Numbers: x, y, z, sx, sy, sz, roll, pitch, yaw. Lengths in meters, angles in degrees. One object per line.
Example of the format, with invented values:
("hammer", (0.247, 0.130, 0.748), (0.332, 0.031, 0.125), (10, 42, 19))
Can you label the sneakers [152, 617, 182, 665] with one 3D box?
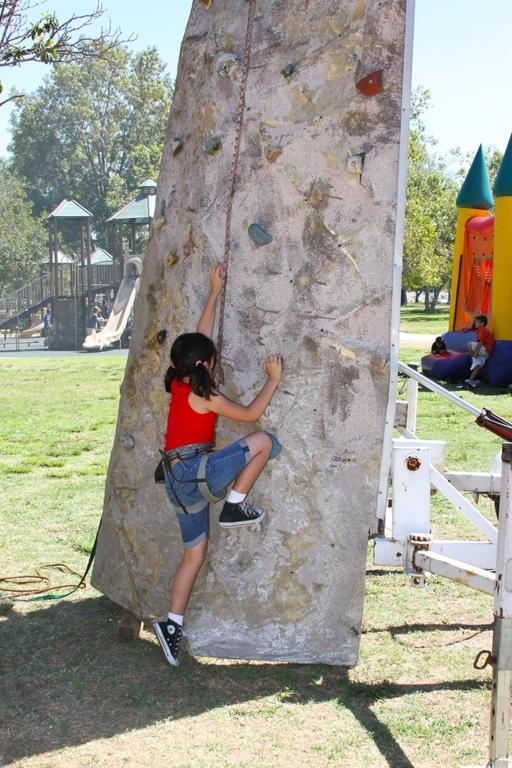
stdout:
("sneakers", (-0.410, 1.242, 3.811), (0.119, 0.286, 0.128), (-5, 10, -23))

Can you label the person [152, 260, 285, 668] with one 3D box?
("person", (-0.207, 0.460, 3.934), (0.580, 1.828, 0.758), (3, 10, 22))

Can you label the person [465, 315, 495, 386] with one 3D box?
("person", (3.861, -0.594, 13.945), (0.438, 1.165, 1.118), (2, 9, 15))

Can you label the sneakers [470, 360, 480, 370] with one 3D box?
("sneakers", (3.793, -0.321, 13.912), (0.095, 0.163, 0.149), (19, -5, -18))

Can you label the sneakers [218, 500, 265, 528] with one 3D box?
("sneakers", (-0.078, 0.613, 3.880), (0.263, 0.136, 0.093), (-4, 10, -25))

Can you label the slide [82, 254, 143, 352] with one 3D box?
("slide", (-4.911, -2.883, 28.295), (1.813, 3.224, 3.680), (-2, 9, -8))
